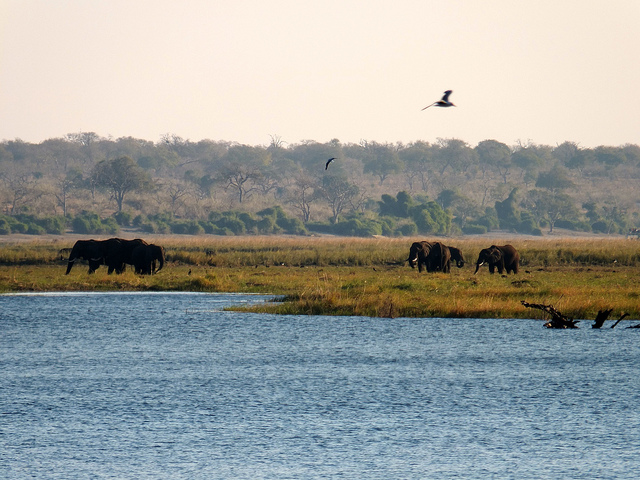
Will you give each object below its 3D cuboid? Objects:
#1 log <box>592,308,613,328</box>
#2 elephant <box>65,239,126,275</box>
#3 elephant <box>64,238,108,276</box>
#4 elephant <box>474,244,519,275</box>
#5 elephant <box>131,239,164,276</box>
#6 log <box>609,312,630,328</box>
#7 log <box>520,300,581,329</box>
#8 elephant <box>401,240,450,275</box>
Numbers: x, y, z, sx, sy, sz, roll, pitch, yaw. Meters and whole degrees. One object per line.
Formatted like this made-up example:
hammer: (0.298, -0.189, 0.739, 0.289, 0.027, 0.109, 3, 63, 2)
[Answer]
log: (10.249, 2.788, 54.466, 0.348, 1.129, 0.275, 22, -26, 42)
elephant: (-10.863, 0.548, 70.198, 3.555, 1.929, 1.636, 3, 14, 26)
elephant: (-11.070, 0.522, 69.895, 1.834, 1.676, 0.975, -2, 14, -9)
elephant: (8.904, 0.775, 75.386, 2.805, 1.642, 1.306, 2, -2, -27)
elephant: (-8.313, 0.537, 70.615, 1.112, 1.813, 1.592, 11, 18, 38)
log: (11.173, 2.858, 55.567, 0.291, 0.816, 0.039, 53, 9, 33)
log: (8.664, 2.469, 55.234, 1.891, 1.180, 2.644, 2, 14, 9)
elephant: (5.451, 0.499, 76.339, 2.987, 1.727, 1.292, 8, 18, 43)
